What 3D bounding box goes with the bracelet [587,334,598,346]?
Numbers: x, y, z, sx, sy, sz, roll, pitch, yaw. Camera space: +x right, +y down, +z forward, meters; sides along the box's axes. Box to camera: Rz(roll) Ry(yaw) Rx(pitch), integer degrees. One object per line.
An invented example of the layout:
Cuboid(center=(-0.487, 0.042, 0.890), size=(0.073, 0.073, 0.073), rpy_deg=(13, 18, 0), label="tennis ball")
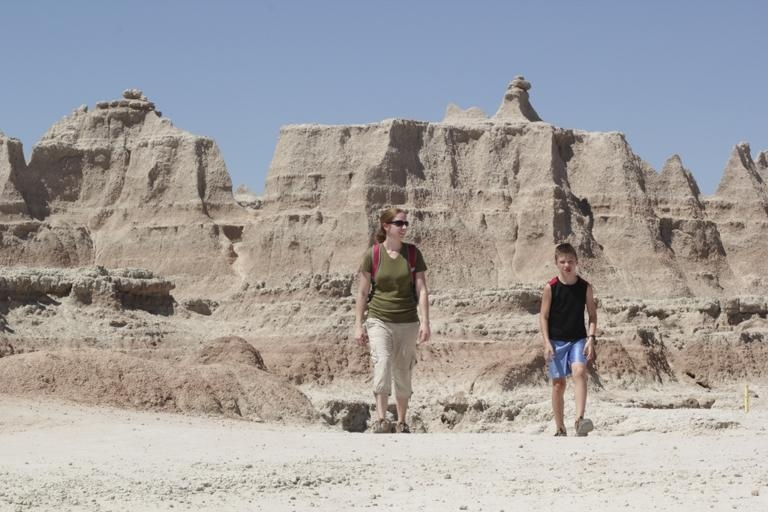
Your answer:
Cuboid(center=(7.605, 3.161, 64.905), size=(0.266, 0.488, 0.270), rpy_deg=(-2, -12, 15), label="bracelet")
